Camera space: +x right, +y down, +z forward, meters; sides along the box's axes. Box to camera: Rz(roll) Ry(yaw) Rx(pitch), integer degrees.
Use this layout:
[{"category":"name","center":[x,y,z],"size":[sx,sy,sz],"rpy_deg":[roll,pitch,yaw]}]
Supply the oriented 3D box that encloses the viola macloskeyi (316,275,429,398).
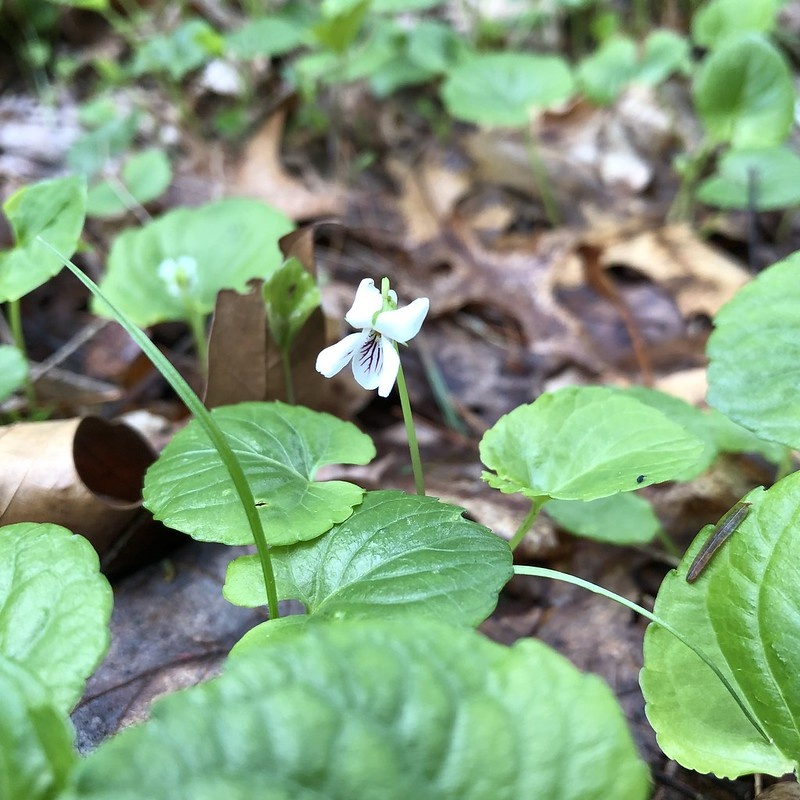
[{"category":"viola macloskeyi","center":[-0.044,-0.141,1.823],"size":[0.229,0.276,0.268],"rpy_deg":[4,22,11]}]
